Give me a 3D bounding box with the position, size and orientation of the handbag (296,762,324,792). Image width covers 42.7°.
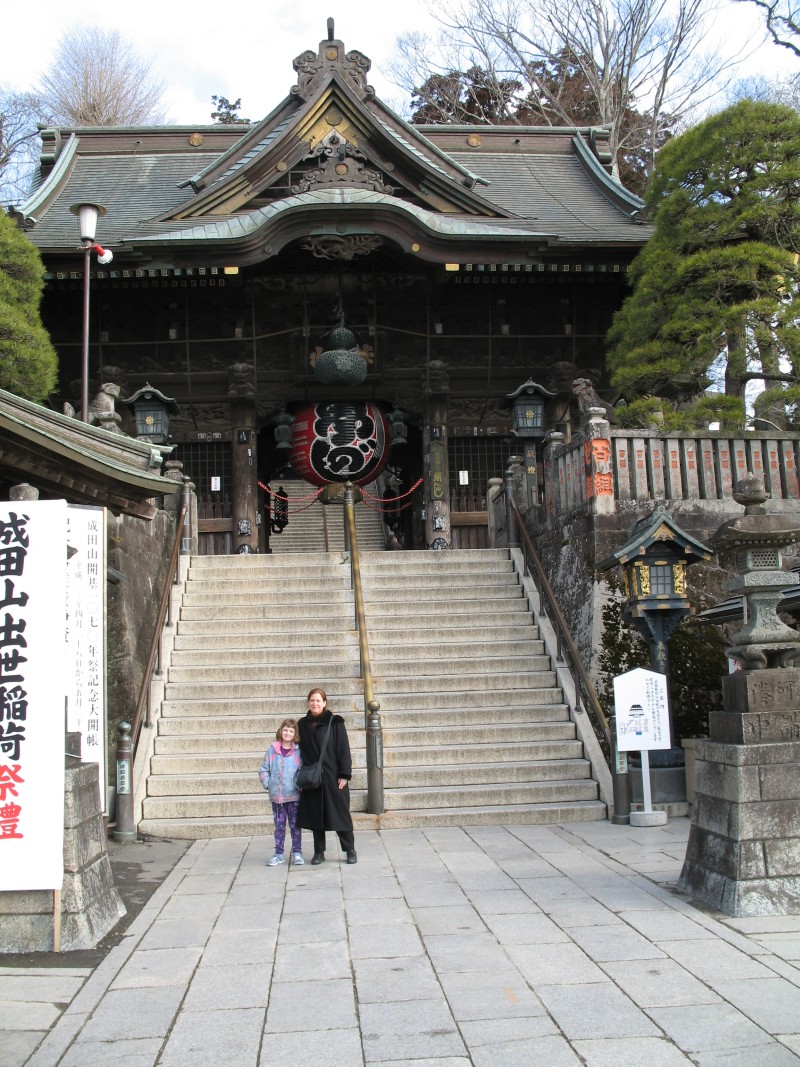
[{"bbox_3d":[-0.670,1.845,7.646,0.221,0.212,0.082,-6,-39,16],"label":"handbag"}]

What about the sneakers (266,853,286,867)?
[{"bbox_3d":[-0.940,2.516,7.844,0.120,0.081,0.310,-2,-4,3],"label":"sneakers"}]

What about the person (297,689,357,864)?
[{"bbox_3d":[-0.567,1.882,7.854,0.427,1.338,0.515,-2,-4,-3],"label":"person"}]

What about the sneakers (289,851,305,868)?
[{"bbox_3d":[-0.802,2.535,7.883,0.087,0.102,0.248,0,-13,-6],"label":"sneakers"}]
